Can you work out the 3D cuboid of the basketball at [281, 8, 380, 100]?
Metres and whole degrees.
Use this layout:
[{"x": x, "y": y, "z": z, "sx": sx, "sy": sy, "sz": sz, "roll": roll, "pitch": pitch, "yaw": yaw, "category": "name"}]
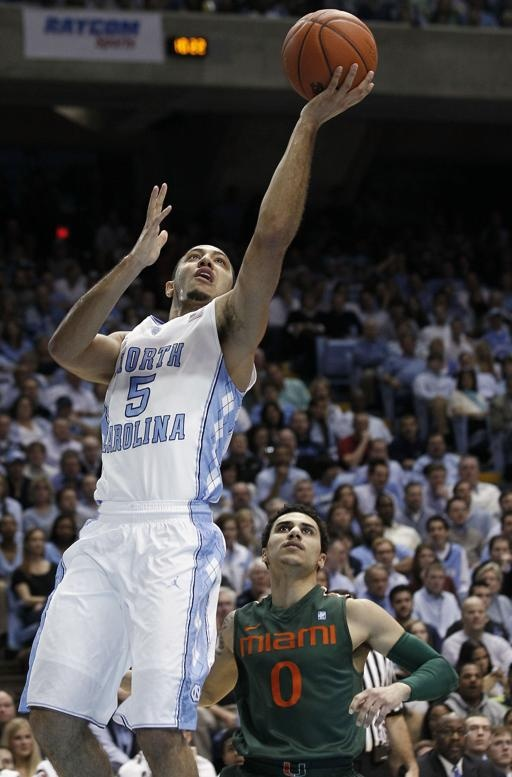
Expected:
[{"x": 0.229, "y": -1.086, "z": 3.340, "sx": 0.351, "sy": 0.358, "sz": 0.325, "roll": 1, "pitch": -3, "yaw": 2, "category": "basketball"}]
